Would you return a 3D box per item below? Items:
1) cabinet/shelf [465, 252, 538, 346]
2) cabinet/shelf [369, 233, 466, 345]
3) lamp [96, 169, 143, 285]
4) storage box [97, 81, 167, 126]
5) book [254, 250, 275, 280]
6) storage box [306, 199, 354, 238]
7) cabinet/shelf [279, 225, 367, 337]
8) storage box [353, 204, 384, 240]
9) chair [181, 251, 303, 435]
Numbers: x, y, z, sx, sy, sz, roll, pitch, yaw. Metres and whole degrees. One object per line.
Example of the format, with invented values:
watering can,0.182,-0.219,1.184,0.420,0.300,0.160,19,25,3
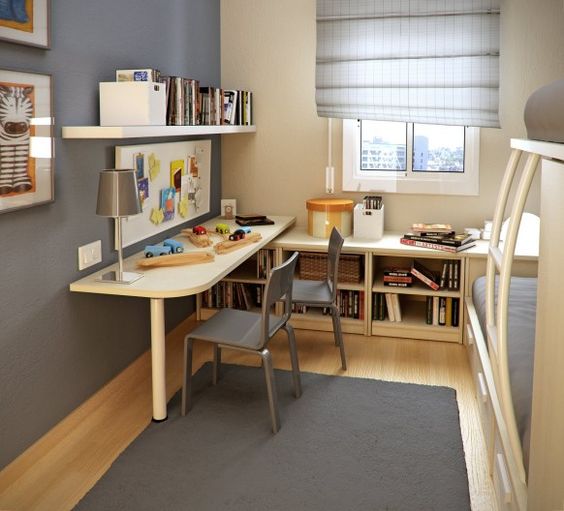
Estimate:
cabinet/shelf,1.286,0.310,2.942,0.483,0.580,0.373,1,5,21
cabinet/shelf,0.960,0.296,3.429,0.736,0.884,0.603,2,7,17
lamp,-0.762,-0.147,2.211,0.194,0.504,0.356,-4,12,-23
storage box,-0.695,-0.711,2.238,0.216,0.173,0.241,2,11,12
book,-0.120,0.054,3.550,0.141,0.318,0.210,1,8,7
storage box,0.352,-0.284,3.487,0.252,0.236,0.290,0,6,2
cabinet/shelf,0.322,0.051,3.561,0.720,0.875,0.565,1,6,14
storage box,0.613,-0.218,3.373,0.177,0.284,0.259,2,7,14
chair,-0.100,0.312,2.685,0.653,1.230,0.655,5,9,14
